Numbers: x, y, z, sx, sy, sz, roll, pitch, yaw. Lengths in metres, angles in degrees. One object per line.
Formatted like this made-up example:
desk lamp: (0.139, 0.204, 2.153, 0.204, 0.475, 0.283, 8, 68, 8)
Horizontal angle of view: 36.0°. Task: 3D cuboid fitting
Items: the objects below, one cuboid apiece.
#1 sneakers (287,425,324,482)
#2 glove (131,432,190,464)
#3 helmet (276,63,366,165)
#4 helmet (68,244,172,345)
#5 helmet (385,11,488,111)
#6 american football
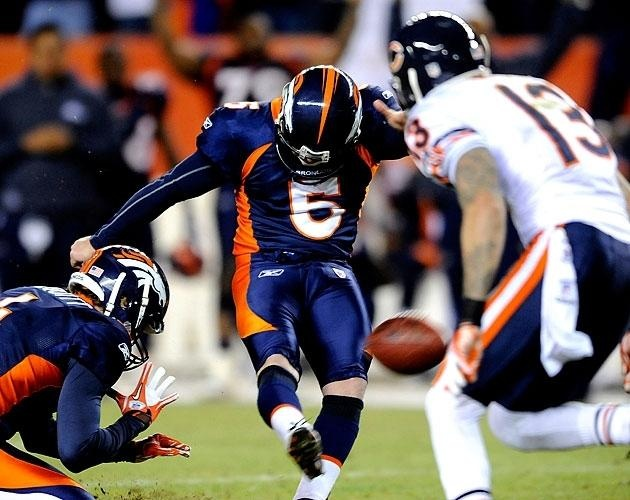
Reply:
sneakers: (-0.037, 0.735, 3.591, 0.096, 0.205, 0.096, -22, 23, -3)
glove: (-0.620, 0.817, 3.951, 0.198, 0.092, 0.127, -1, 2, -28)
helmet: (0.022, -0.574, 4.286, 0.314, 0.348, 0.429, 18, 63, -10)
helmet: (-0.780, 0.131, 4.036, 0.430, 0.362, 0.309, 28, -2, -25)
helmet: (0.448, -0.800, 3.950, 0.320, 0.408, 0.363, 26, 15, -9)
american football: (0.354, 0.380, 3.822, 0.340, 0.216, 0.246, 5, 16, -10)
